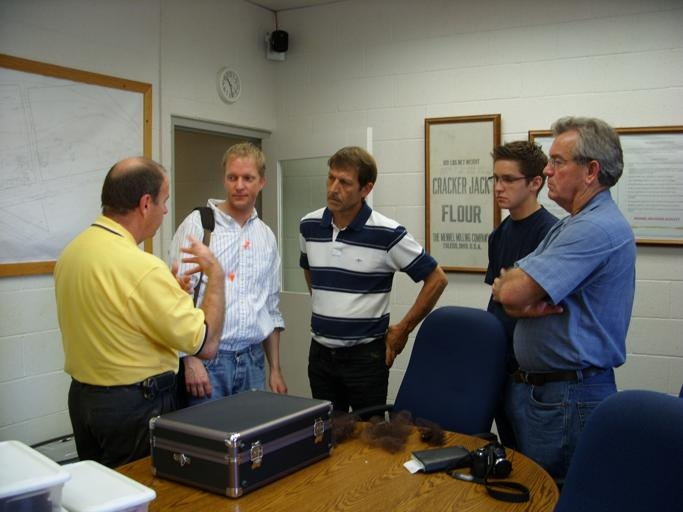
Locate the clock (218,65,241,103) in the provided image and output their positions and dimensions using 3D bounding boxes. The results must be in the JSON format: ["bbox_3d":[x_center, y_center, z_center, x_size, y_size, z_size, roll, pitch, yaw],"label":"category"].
[{"bbox_3d":[-0.880,-1.355,3.833,0.063,0.273,0.257,7,12,25],"label":"clock"}]

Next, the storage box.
[{"bbox_3d":[-0.362,0.607,1.568,0.270,0.148,0.359,-3,-1,33],"label":"storage box"}]
